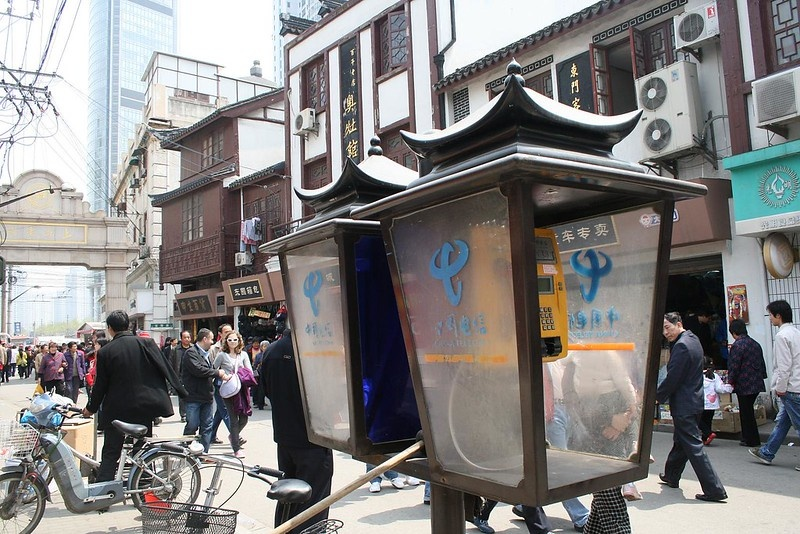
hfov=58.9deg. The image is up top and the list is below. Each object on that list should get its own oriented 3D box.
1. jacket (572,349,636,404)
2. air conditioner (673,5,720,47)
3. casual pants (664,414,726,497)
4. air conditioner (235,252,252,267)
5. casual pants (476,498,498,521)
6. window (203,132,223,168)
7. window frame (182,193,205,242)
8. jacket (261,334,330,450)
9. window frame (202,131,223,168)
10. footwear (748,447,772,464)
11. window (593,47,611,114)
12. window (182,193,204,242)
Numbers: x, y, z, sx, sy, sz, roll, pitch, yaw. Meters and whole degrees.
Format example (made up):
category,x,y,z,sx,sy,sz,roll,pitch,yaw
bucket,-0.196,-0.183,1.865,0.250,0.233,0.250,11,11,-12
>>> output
category,x,y,z,sx,sy,sz,roll,pitch,yaw
jacket,1.918,0.965,6.972,0.676,0.395,0.626,17,-13,17
air conditioner,5.454,-4.418,13.028,0.254,0.695,0.707,11,-15,-40
casual pants,3.950,2.597,9.717,0.496,1.124,0.728,2,-7,-28
air conditioner,-5.267,-0.167,23.941,0.392,0.539,0.726,4,-5,-27
casual pants,1.063,3.036,8.789,0.220,0.311,0.227,4,-8,-40
window,-7.174,-4.509,27.428,0.120,1.151,1.458,2,-3,-30
window frame,-7.991,-1.921,27.631,0.093,2.383,1.672,3,-7,-36
jacket,-1.230,1.386,8.355,0.892,1.337,0.462,0,-2,18
window frame,-7.201,-4.512,27.454,0.108,1.194,1.523,0,1,-31
footwear,5.463,2.907,10.792,0.381,0.180,0.141,23,-1,34
window,3.991,-3.640,14.047,0.178,1.495,0.353,-29,33,-24
window,-7.998,-1.921,27.649,0.085,1.783,1.681,5,-9,-33
